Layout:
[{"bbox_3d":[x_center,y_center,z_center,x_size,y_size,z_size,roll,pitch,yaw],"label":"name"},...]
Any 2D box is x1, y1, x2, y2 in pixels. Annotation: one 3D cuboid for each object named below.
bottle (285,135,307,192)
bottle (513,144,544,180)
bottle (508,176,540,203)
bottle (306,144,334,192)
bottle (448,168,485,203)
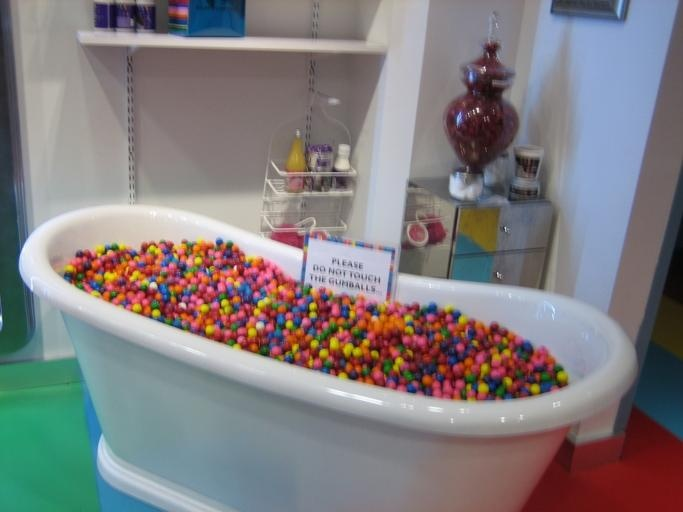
[{"bbox_3d":[-0.206,-0.424,2.461,0.087,0.260,0.122,0,16,-6],"label":"bottle"},{"bbox_3d":[0.714,-0.364,2.125,0.115,0.135,0.100,-7,20,-28],"label":"bottle"},{"bbox_3d":[0.706,-0.260,2.149,0.090,0.108,0.102,2,15,0],"label":"bottle"},{"bbox_3d":[-0.099,-0.398,2.476,0.108,0.200,0.114,2,16,-1],"label":"bottle"},{"bbox_3d":[0.475,-0.267,2.120,0.105,0.098,0.117,10,17,11],"label":"bottle"}]
